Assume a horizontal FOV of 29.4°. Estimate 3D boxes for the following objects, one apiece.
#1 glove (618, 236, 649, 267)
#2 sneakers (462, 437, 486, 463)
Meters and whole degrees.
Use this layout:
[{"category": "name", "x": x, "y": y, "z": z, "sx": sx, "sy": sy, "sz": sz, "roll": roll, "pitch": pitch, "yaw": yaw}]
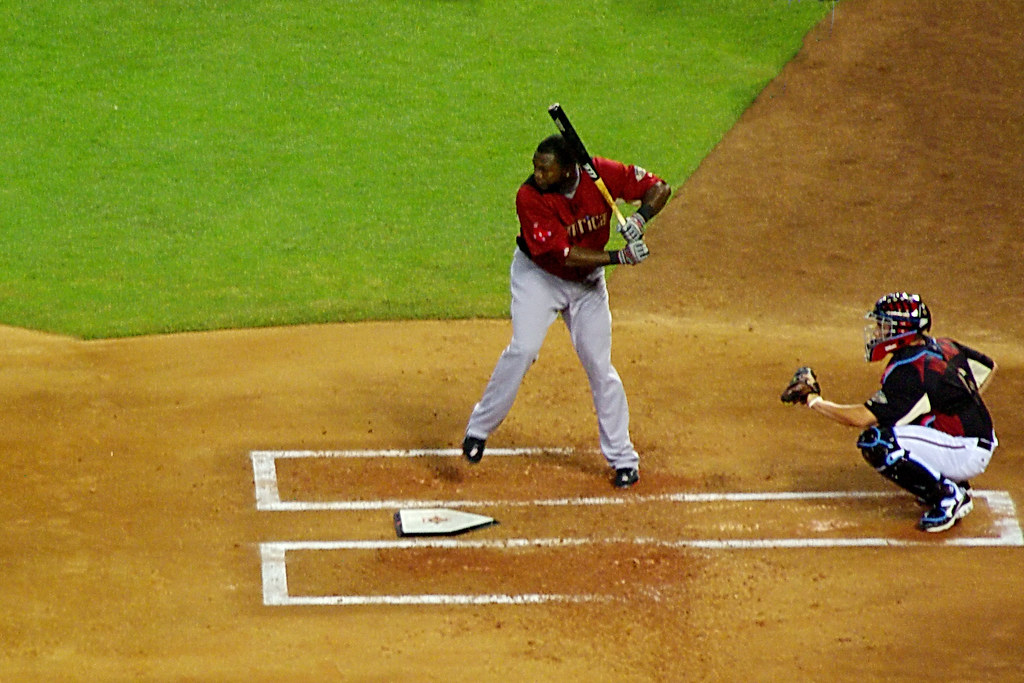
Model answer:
[{"category": "glove", "x": 1.467, "y": -1.077, "z": 23.605, "sx": 0.252, "sy": 0.148, "sz": 0.346, "roll": -19, "pitch": 19, "yaw": 7}, {"category": "sneakers", "x": -0.471, "y": 1.343, "z": 24.156, "sx": 0.182, "sy": 0.251, "sz": 0.363, "roll": 5, "pitch": 30, "yaw": 0}]
